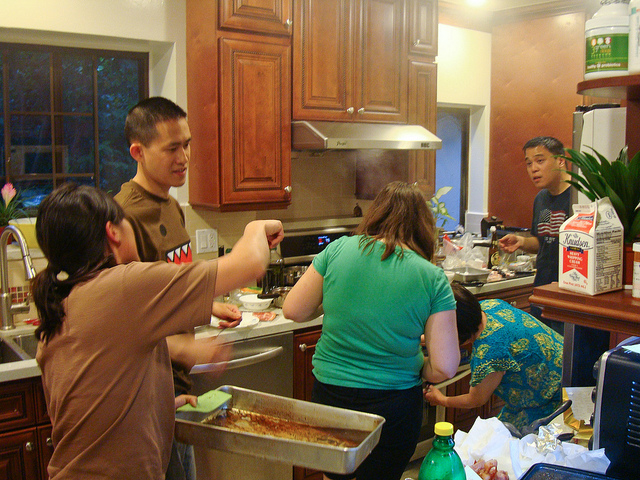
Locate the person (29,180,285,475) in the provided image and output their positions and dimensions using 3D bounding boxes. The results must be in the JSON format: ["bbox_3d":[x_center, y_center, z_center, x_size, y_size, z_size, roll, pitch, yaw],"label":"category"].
[{"bbox_3d":[-0.453,0.258,1.442,0.613,0.835,0.245,0,7,12],"label":"person"}]

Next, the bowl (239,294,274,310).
[{"bbox_3d":[-0.360,0.346,2.960,0.188,0.067,0.126,2,8,27],"label":"bowl"}]

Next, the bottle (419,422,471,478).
[{"bbox_3d":[0.297,0.508,1.294,0.107,0.150,0.068,-1,7,10],"label":"bottle"}]

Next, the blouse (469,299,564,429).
[{"bbox_3d":[0.834,0.495,2.207,0.336,0.606,0.361,-7,17,-38],"label":"blouse"}]

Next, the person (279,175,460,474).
[{"bbox_3d":[0.188,0.364,2.019,0.601,1.138,0.318,-3,7,-5],"label":"person"}]
